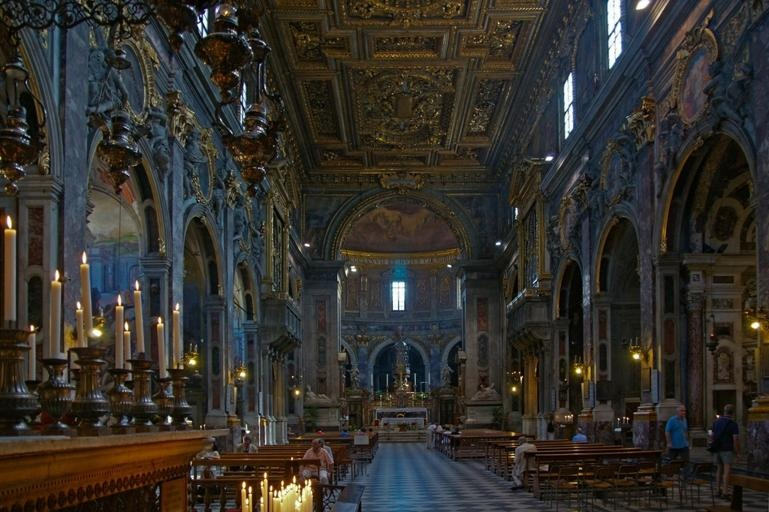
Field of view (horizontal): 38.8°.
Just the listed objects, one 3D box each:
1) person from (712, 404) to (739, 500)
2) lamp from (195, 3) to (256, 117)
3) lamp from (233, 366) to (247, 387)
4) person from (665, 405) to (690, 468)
[{"bbox_3d":[6.871,3.941,21.919,0.534,1.878,1.201,-5,-1,17],"label":"person"},{"bbox_3d":[-2.274,-2.861,15.346,0.798,1.409,0.404,-5,0,-9],"label":"lamp"},{"bbox_3d":[-4.321,3.590,32.501,0.377,0.602,0.874,-5,-2,-7],"label":"lamp"},{"bbox_3d":[6.220,3.753,23.162,0.424,1.235,0.426,-5,0,11],"label":"person"}]
